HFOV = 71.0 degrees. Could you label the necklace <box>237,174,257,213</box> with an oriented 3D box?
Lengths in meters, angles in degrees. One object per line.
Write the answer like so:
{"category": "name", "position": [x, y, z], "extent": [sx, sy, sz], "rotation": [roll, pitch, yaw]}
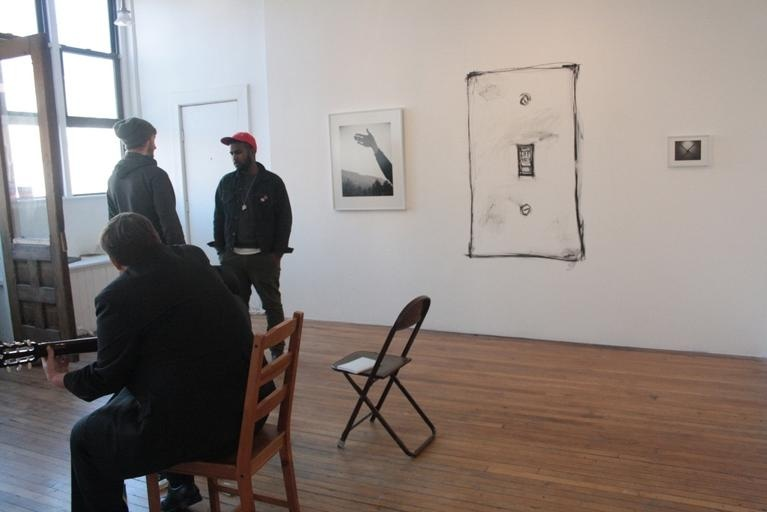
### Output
{"category": "necklace", "position": [-1.426, -0.666, 5.620], "extent": [0.158, 0.386, 0.126], "rotation": [0, 10, 8]}

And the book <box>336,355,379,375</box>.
{"category": "book", "position": [-0.184, 0.863, 4.207], "extent": [0.265, 0.056, 0.333], "rotation": [7, 12, 41]}

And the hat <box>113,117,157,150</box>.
{"category": "hat", "position": [-2.317, -1.148, 5.027], "extent": [0.336, 0.287, 0.262], "rotation": [-14, 29, -37]}

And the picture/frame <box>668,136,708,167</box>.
{"category": "picture/frame", "position": [3.202, -1.094, 5.590], "extent": [0.309, 0.276, 0.024], "rotation": [0, 8, 16]}

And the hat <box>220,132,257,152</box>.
{"category": "hat", "position": [-1.528, -1.220, 5.679], "extent": [0.307, 0.200, 0.501], "rotation": [-3, 9, -10]}
